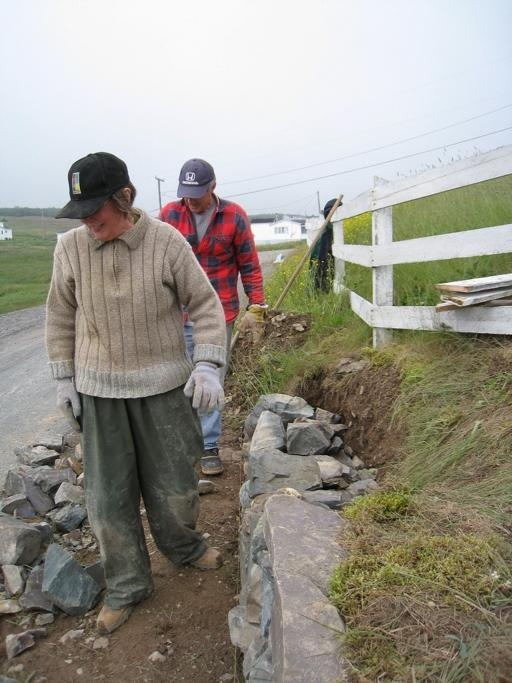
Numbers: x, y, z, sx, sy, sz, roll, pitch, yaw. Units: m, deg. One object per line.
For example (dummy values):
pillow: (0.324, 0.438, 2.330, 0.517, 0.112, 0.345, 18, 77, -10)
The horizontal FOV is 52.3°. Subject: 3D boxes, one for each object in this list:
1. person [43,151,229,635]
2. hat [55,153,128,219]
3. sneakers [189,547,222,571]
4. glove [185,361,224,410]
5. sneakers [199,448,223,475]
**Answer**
person: (-0.583, 0.283, 2.546, 0.891, 2.282, 0.576, -3, 13, -2)
hat: (-0.697, -0.668, 2.232, 0.324, 0.291, 0.212, -5, 13, -15)
sneakers: (-0.294, 1.268, 3.022, 0.171, 0.058, 0.092, 0, 15, 21)
glove: (-0.268, 0.226, 2.463, 0.189, 0.219, 0.108, 12, -26, -39)
sneakers: (-0.366, 1.013, 4.418, 0.212, 0.172, 0.492, 0, -3, -12)
